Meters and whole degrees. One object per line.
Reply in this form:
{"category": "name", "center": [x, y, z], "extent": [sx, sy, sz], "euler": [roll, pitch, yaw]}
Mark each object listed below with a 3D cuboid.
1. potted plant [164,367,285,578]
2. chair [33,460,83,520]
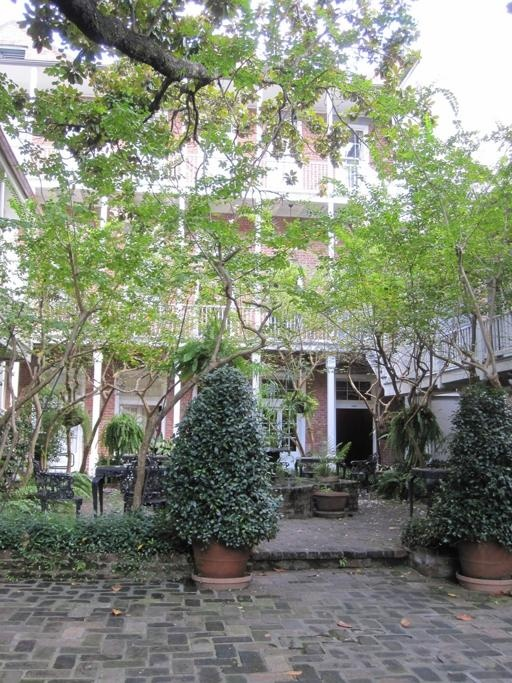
{"category": "potted plant", "center": [-0.315, 1.261, 5.651], "extent": [1.172, 2.069, 1.203], "euler": [10, 10, 31]}
{"category": "chair", "center": [-2.472, 1.800, 7.117], "extent": [0.538, 0.599, 2.414], "euler": [7, -9, -20]}
